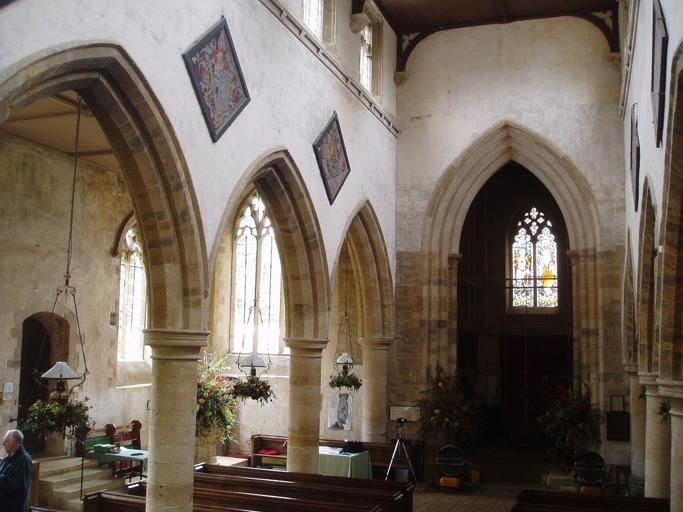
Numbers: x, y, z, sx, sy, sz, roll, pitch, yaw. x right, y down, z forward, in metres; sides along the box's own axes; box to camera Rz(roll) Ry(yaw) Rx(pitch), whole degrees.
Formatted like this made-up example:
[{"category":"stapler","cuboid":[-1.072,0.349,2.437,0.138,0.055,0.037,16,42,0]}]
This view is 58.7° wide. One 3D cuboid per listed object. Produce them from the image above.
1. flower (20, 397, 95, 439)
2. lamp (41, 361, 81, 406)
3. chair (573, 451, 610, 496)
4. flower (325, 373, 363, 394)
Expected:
[{"category":"flower","cuboid":[-4.397,2.396,9.095,0.685,0.545,0.732,-22,2,-41]},{"category":"lamp","cuboid":[-4.231,1.918,9.103,0.627,0.660,0.631,1,-4,-4]},{"category":"chair","cuboid":[5.170,4.537,12.601,0.762,0.948,0.804,-1,-6,14]},{"category":"flower","cuboid":[0.085,2.897,13.871,0.718,0.471,0.778,1,-7,4]}]
